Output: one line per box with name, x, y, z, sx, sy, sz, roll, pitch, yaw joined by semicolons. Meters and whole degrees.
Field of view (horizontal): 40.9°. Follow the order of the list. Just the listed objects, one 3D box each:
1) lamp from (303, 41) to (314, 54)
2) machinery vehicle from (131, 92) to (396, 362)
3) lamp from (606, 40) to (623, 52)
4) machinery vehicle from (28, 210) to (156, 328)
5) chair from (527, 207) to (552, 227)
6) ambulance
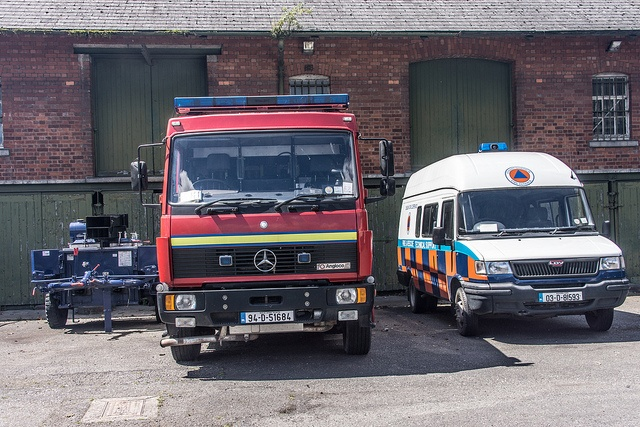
lamp;-0.321;-4.794;24.895;0.294;0.305;0.307;0;-5;-4
machinery vehicle;-1.068;0.412;20.462;5.115;5.847;8.551;-2;-2;-2
lamp;8.818;-4.970;25.581;0.485;0.364;0.193;-5;10;-18
machinery vehicle;-5.351;1.344;21.410;3.169;2.750;4.027;-3;1;-14
chair;4.769;0.070;18.707;0.527;0.384;0.522;-3;-1;8
ambulance;4.365;0.589;21.204;3.748;4.152;7.438;-2;-1;-10
